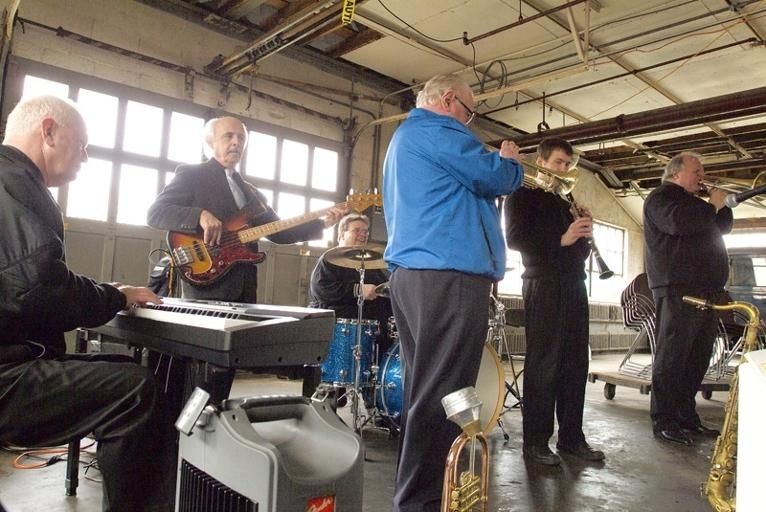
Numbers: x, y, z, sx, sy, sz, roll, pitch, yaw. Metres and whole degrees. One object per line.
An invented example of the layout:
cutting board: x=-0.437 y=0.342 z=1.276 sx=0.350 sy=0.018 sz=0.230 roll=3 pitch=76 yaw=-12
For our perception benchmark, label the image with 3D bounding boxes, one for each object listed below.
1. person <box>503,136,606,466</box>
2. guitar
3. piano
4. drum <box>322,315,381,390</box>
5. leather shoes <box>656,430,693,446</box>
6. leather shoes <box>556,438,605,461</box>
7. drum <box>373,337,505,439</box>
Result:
person: x=1.367 y=0.300 z=4.270 sx=0.645 sy=2.230 sz=0.769 roll=-2 pitch=-2 yaw=45
guitar: x=-0.788 y=-0.117 z=4.080 sx=0.421 sy=0.645 sz=1.414 roll=3 pitch=-1 yaw=37
piano: x=-0.812 y=0.367 z=2.847 sx=1.108 sy=0.304 sz=0.474 roll=2 pitch=-1 yaw=38
drum: x=-0.309 y=0.854 z=4.984 sx=0.595 sy=0.564 sz=0.560 roll=4 pitch=-12 yaw=-10
leather shoes: x=2.432 y=1.519 z=4.780 sx=0.103 sy=0.101 sz=0.252 roll=10 pitch=-14 yaw=-26
leather shoes: x=1.490 y=1.463 z=4.358 sx=0.361 sy=0.137 sz=0.135 roll=1 pitch=-8 yaw=38
drum: x=0.536 y=1.118 z=4.775 sx=1.221 sy=0.847 sz=1.252 roll=5 pitch=-3 yaw=0
